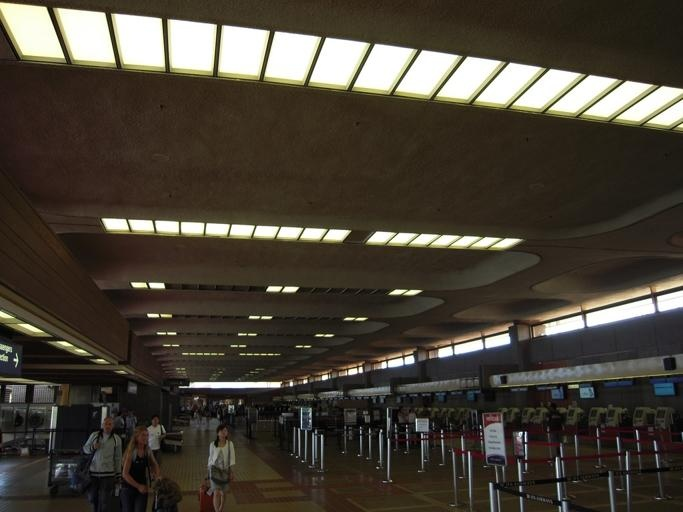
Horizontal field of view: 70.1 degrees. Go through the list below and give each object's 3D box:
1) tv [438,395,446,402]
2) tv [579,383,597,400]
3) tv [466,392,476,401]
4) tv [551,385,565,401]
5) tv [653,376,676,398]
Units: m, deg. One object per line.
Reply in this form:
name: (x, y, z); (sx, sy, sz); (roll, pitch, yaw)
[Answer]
tv: (7.783, 10.820, 37.160); (0.322, 0.451, 0.972); (1, -20, -14)
tv: (12.787, 6.974, 25.193); (0.313, 0.819, 0.960); (2, -7, -21)
tv: (8.909, 9.477, 33.237); (0.480, 0.612, 1.060); (-6, -20, 7)
tv: (12.166, 7.661, 27.292); (0.775, 0.702, 1.798); (-11, -21, 20)
tv: (14.233, 5.735, 21.368); (0.251, 0.798, 1.168); (1, -20, -13)
